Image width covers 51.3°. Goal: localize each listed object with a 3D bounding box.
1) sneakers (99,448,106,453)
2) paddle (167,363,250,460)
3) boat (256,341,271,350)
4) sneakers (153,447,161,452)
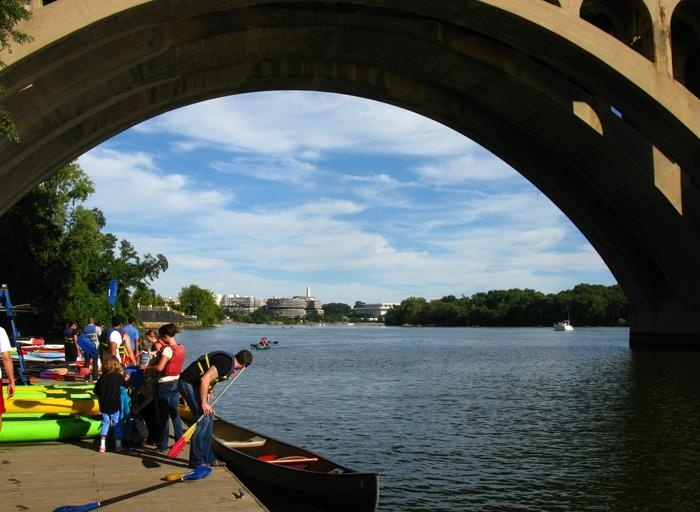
[{"bbox_3d":[-6.469,5.063,18.984,0.146,0.121,0.143,2,-5,-6],"label":"sneakers"},{"bbox_3d":[-3.868,4.114,19.756,0.086,3.851,0.387,23,-51,10],"label":"paddle"},{"bbox_3d":[-8.490,8.932,71.995,0.865,0.479,3.527,-2,-8,7],"label":"boat"},{"bbox_3d":[-5.096,5.125,19.175,0.158,0.056,0.133,15,-2,-17],"label":"sneakers"}]
